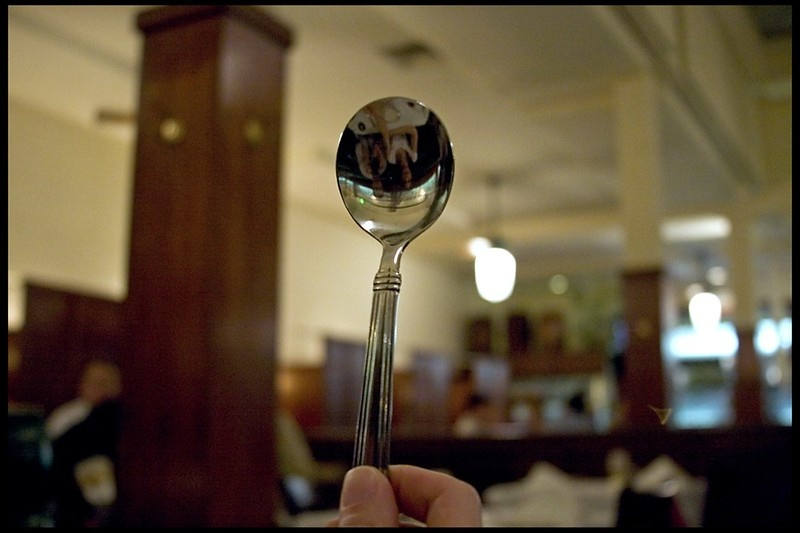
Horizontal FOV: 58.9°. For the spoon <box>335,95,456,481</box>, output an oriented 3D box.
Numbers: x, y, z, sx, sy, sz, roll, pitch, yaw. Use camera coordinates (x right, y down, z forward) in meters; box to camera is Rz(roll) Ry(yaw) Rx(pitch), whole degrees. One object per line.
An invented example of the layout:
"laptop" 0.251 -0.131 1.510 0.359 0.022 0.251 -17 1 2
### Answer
"spoon" -0.009 0.018 0.726 0.120 0.383 0.130 3 -4 -28
